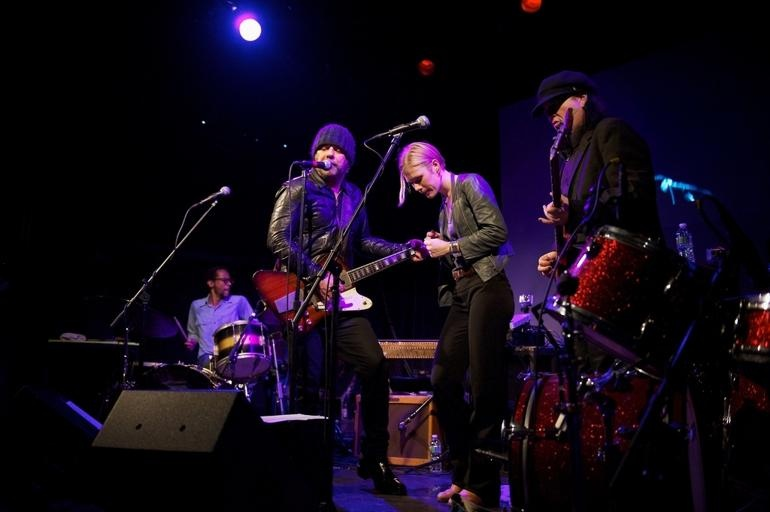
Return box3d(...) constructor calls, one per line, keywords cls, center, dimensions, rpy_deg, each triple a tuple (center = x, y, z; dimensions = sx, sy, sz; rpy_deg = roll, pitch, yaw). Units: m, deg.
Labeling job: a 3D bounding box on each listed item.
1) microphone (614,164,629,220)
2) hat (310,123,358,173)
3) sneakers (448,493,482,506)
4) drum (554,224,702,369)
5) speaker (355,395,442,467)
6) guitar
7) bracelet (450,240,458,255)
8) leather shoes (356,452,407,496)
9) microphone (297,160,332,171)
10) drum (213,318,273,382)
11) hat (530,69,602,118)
box3d(cls="microphone", center=(1.512, -0.393, 4.113), dimensions=(0.071, 0.387, 0.122), rpy_deg=(-1, -18, 19))
box3d(cls="hat", center=(-0.434, -1.035, 5.819), dimensions=(0.371, 0.349, 0.423), rpy_deg=(13, -28, 7))
box3d(cls="sneakers", center=(0.579, 1.772, 4.659), dimensions=(0.233, 0.091, 0.102), rpy_deg=(-3, 18, 12))
box3d(cls="drum", center=(1.459, 0.268, 4.065), dimensions=(0.796, 0.781, 0.834), rpy_deg=(25, -24, 23))
box3d(cls="speaker", center=(0.137, 1.729, 6.712), dimensions=(1.024, 0.926, 0.612), rpy_deg=(-6, -11, 33))
box3d(cls="guitar", center=(-0.417, 0.360, 6.096), dimensions=(1.081, 0.485, 0.152), rpy_deg=(-23, 9, -7))
box3d(cls="bracelet", center=(0.540, -0.050, 4.996), dimensions=(0.031, 0.066, 0.087), rpy_deg=(-2, 27, -16))
box3d(cls="leather shoes", center=(-0.104, 1.779, 5.258), dimensions=(0.541, 0.252, 0.190), rpy_deg=(12, -3, 36))
box3d(cls="microphone", center=(-0.534, -0.751, 5.274), dimensions=(0.109, 0.112, 0.391), rpy_deg=(7, 12, 42))
box3d(cls="drum", center=(-1.638, 1.122, 7.355), dimensions=(0.643, 0.499, 0.679), rpy_deg=(-4, -32, -3))
box3d(cls="hat", center=(1.282, -1.201, 4.614), dimensions=(0.397, 0.224, 0.305), rpy_deg=(-18, -4, -8))
